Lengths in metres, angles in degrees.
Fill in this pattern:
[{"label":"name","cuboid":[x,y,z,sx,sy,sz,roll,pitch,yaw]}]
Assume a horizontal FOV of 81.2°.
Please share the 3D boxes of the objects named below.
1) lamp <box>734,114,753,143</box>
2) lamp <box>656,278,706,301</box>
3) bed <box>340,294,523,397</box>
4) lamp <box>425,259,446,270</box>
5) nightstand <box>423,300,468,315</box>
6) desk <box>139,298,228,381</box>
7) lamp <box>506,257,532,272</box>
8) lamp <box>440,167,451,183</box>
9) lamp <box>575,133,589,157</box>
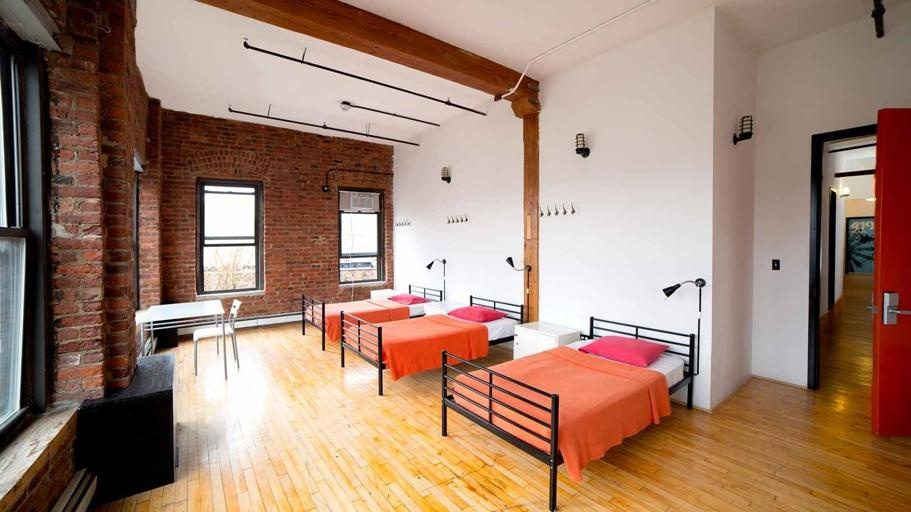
[{"label":"lamp","cuboid":[4.140,-1.831,7.657,0.248,0.412,0.405,1,3,26]},{"label":"lamp","cuboid":[3.167,0.452,7.454,0.603,0.218,0.225,-20,-2,20]},{"label":"bed","cuboid":[-0.289,1.288,8.539,2.315,0.883,1.455,-1,3,-39]},{"label":"lamp","cuboid":[-0.454,0.164,10.793,0.200,0.258,0.681,-2,3,-35]},{"label":"nightstand","cuboid":[-0.229,0.949,9.952,0.407,0.219,0.374,-5,7,-29]},{"label":"desk","cuboid":[-4.543,1.441,8.960,1.479,1.233,1.417,-3,7,-34]},{"label":"lamp","cuboid":[1.048,0.142,9.089,0.139,0.239,0.550,-2,3,-37]},{"label":"lamp","cuboid":[-0.212,-1.601,10.498,0.174,0.302,0.286,-2,3,-26]},{"label":"lamp","cuboid":[1.964,-1.708,8.217,0.210,0.387,0.156,1,3,26]}]
